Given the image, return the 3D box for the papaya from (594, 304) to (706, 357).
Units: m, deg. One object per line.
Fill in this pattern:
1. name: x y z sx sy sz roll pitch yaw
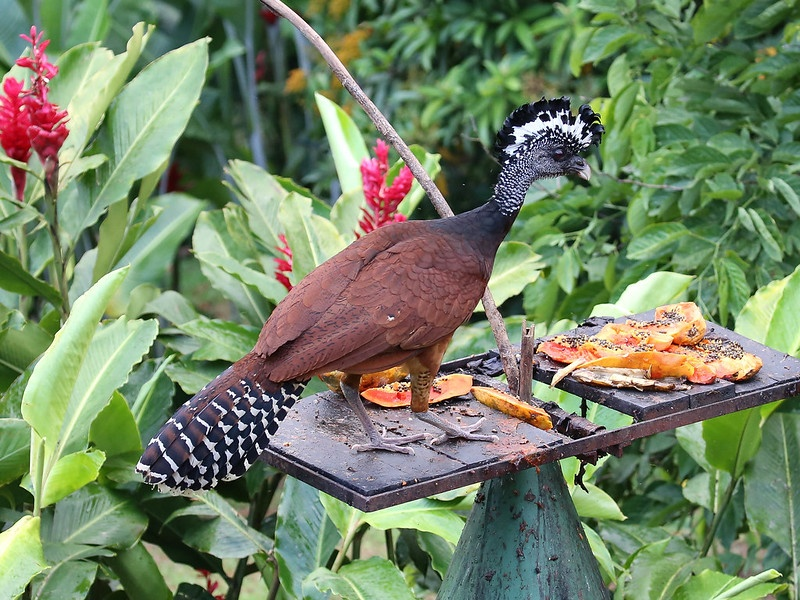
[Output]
1. papaya: 1.180 0.138 4.275 0.293 0.129 0.313 -7 4 1

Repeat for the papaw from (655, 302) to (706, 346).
1. papaw: 1.320 0.111 4.361 0.183 0.099 0.221 -18 44 -2
